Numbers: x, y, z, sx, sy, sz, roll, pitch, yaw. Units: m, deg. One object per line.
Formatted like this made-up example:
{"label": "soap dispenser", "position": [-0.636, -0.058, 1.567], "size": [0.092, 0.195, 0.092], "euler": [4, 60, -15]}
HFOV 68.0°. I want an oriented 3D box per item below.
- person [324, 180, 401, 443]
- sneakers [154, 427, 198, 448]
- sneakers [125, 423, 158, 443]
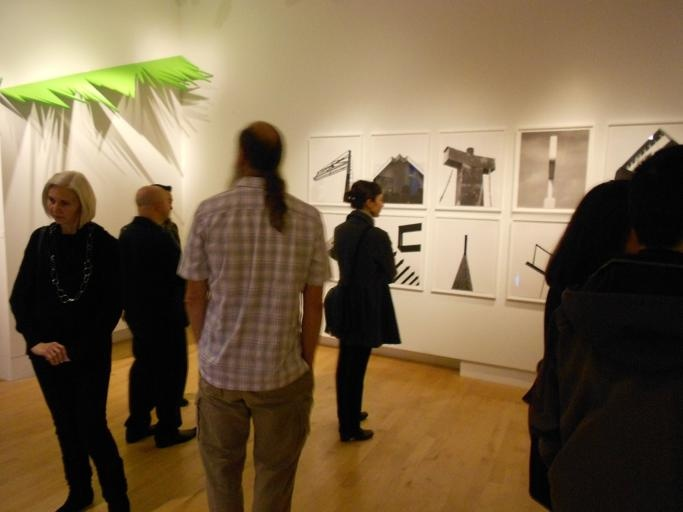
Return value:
{"label": "person", "position": [0.161, 0.469, 4.158], "size": [0.601, 2.137, 0.341], "euler": [1, 9, -2]}
{"label": "sneakers", "position": [-1.340, 1.466, 4.159], "size": [0.346, 0.155, 0.121], "euler": [-9, 18, -33]}
{"label": "sneakers", "position": [-1.636, 1.451, 4.178], "size": [0.113, 0.137, 0.316], "euler": [0, -6, 35]}
